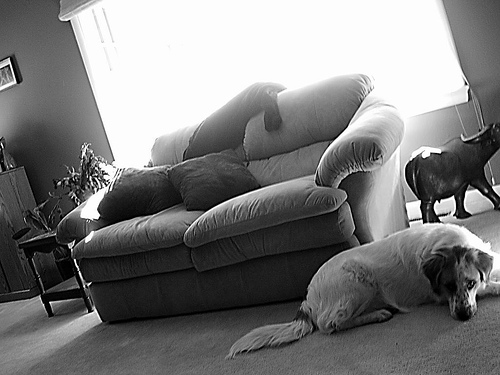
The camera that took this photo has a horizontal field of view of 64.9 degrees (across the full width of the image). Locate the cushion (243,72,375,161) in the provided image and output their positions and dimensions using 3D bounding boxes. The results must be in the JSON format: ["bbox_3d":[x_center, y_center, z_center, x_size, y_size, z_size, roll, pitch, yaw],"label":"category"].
[{"bbox_3d":[0.456,-0.352,2.734,0.871,0.338,0.907,-7,33,14],"label":"cushion"}]

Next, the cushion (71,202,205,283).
[{"bbox_3d":[-0.754,0.385,2.609,0.569,0.257,0.616,-14,20,10],"label":"cushion"}]

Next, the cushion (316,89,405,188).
[{"bbox_3d":[0.647,-0.172,2.103,0.514,0.582,0.194,12,22,9],"label":"cushion"}]

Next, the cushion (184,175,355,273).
[{"bbox_3d":[0.085,0.233,2.268,1.005,0.304,0.205,-11,6,22],"label":"cushion"}]

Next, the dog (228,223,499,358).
[{"bbox_3d":[0.575,0.358,1.939,1.061,0.437,0.616,-21,8,17],"label":"dog"}]
